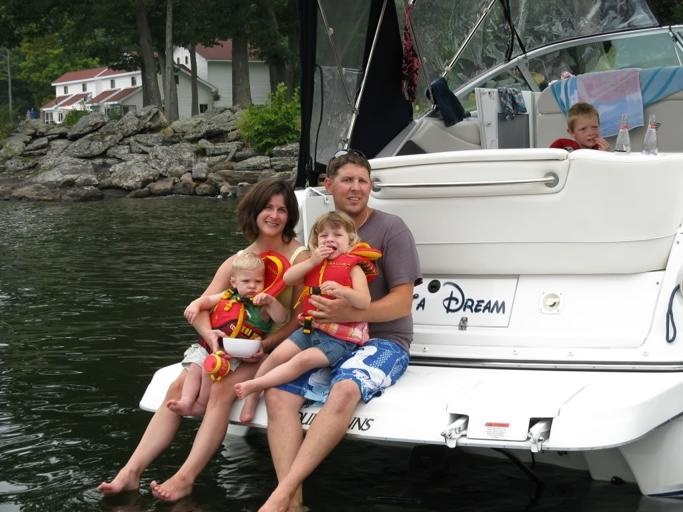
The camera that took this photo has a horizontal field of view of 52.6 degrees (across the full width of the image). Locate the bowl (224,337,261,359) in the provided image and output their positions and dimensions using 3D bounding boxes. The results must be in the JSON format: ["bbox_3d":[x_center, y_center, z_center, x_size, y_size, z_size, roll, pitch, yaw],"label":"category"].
[{"bbox_3d":[-0.536,0.475,3.673,0.150,0.056,0.133,2,-6,8],"label":"bowl"}]
